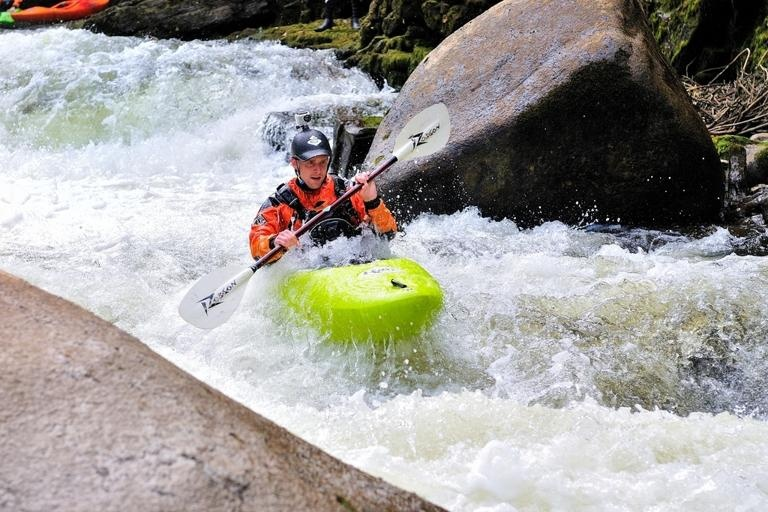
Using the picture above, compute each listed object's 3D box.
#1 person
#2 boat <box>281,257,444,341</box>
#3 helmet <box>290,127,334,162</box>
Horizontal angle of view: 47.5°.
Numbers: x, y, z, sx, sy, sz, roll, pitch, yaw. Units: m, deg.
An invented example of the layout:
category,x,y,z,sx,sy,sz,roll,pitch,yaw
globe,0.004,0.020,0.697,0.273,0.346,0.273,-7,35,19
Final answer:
category,x,y,z,sx,sy,sz,roll,pitch,yaw
person,-0.541,-0.532,8.612,1.220,0.842,1.669,-14,92,-19
boat,-0.281,0.327,8.311,1.271,2.210,0.684,-6,99,-26
helmet,-0.696,-1.043,8.267,0.420,0.576,0.308,-11,96,-20
